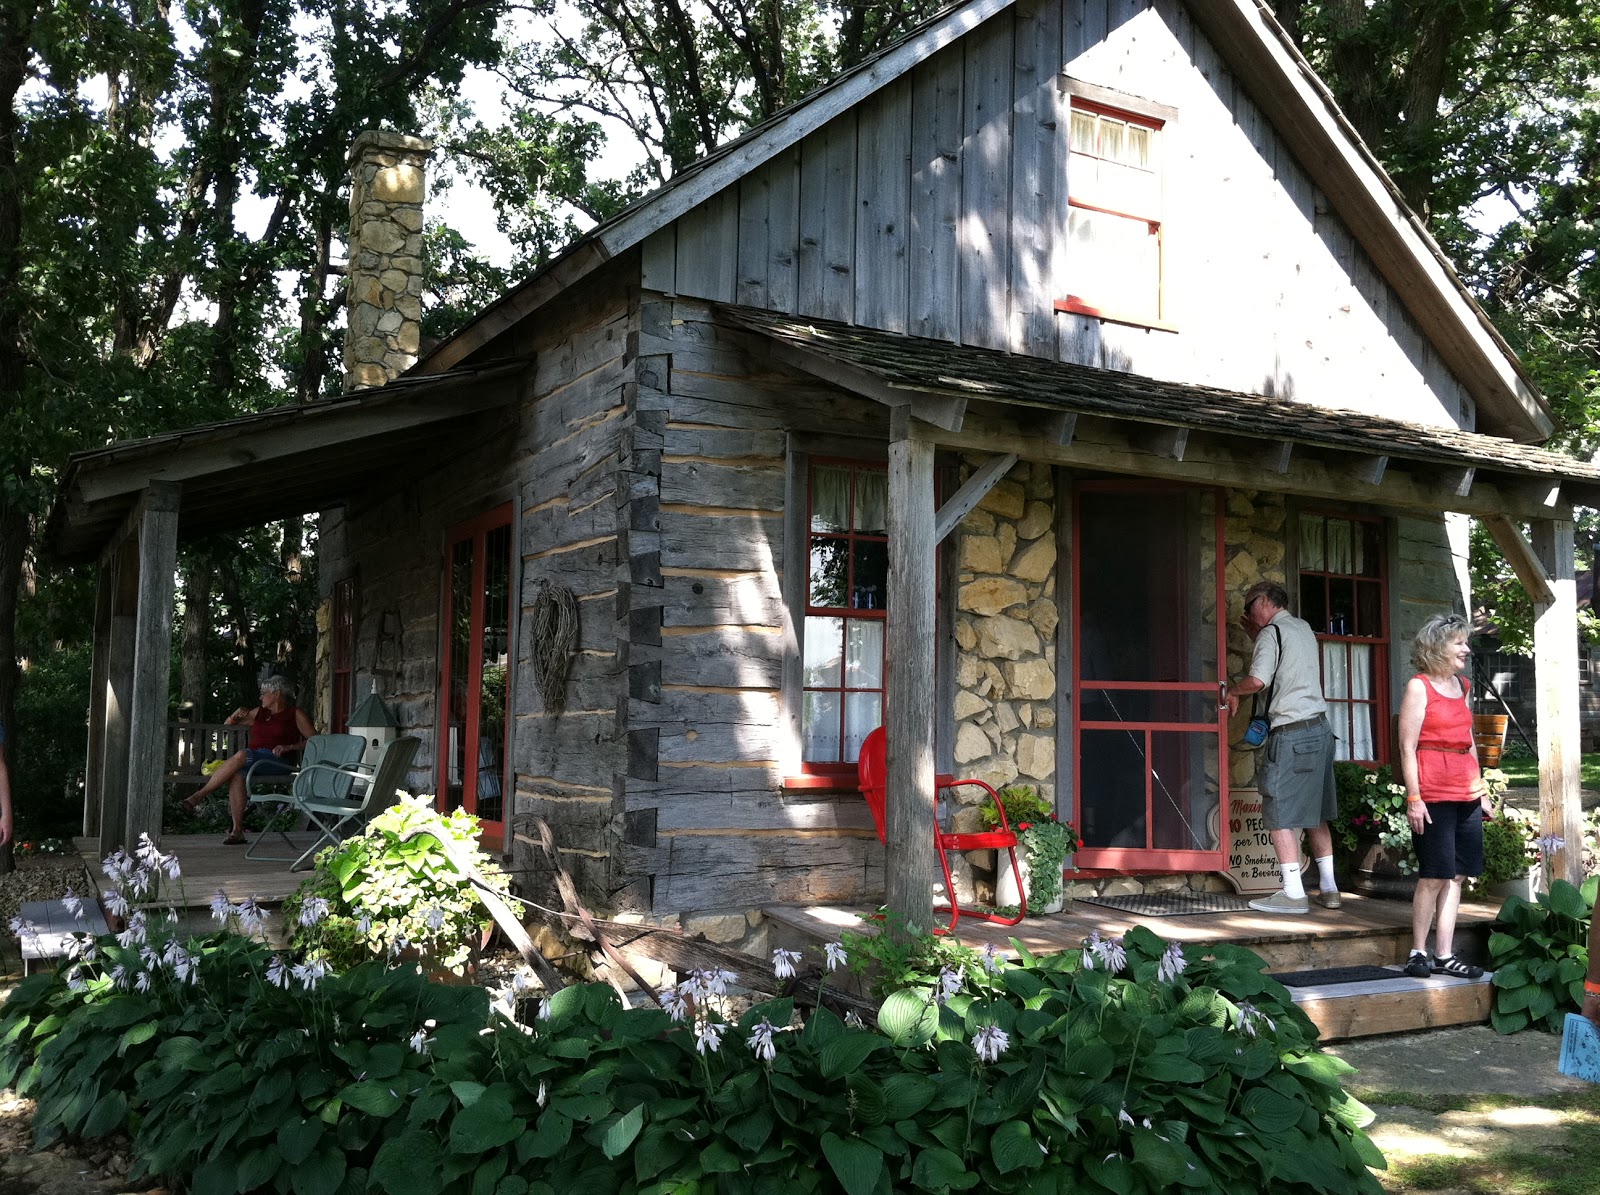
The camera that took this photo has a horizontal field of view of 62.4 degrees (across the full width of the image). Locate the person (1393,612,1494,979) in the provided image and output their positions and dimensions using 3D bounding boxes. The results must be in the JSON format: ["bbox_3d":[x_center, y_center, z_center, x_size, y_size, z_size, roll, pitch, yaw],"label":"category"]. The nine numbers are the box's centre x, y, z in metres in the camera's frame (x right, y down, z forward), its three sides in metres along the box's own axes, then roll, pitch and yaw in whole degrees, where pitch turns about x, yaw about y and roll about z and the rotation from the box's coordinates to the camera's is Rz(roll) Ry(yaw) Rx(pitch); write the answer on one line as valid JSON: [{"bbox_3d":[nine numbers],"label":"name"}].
[{"bbox_3d":[3.996,1.246,8.374,0.512,2.238,0.643,-7,-12,35],"label":"person"}]

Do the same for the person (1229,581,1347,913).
[{"bbox_3d":[3.371,0.989,9.223,0.580,2.327,0.768,-5,-10,22],"label":"person"}]

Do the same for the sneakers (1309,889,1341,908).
[{"bbox_3d":[3.686,2.112,9.343,0.099,0.135,0.316,1,-9,-7],"label":"sneakers"}]

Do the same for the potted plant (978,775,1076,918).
[{"bbox_3d":[1.482,1.663,9.064,0.843,0.993,0.658,2,-10,-12],"label":"potted plant"}]

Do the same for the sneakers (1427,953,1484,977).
[{"bbox_3d":[4.144,2.289,8.357,0.356,0.164,0.137,1,-1,-8],"label":"sneakers"}]

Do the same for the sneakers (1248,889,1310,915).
[{"bbox_3d":[3.204,2.002,8.881,0.354,0.164,0.156,1,-4,23],"label":"sneakers"}]

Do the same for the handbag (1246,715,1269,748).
[{"bbox_3d":[3.130,0.915,9.092,0.126,0.204,0.181,8,17,31],"label":"handbag"}]

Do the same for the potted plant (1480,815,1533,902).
[{"bbox_3d":[5.166,1.880,9.596,0.290,0.464,0.413,18,-21,-18],"label":"potted plant"}]
